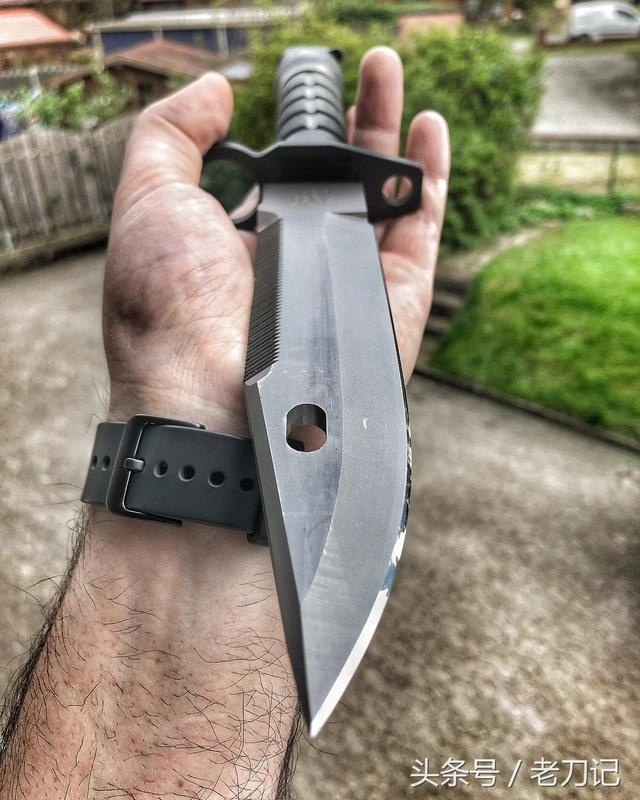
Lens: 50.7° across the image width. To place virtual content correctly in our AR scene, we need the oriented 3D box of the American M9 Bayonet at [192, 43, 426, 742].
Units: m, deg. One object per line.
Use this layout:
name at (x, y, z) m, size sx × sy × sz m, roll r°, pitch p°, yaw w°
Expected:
American M9 Bayonet at (0.002, -0.096, 0.745) m, size 0.204 × 0.077 × 0.760 m, roll -1°, pitch 41°, yaw -3°

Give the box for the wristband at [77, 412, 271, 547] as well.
wristband at (-0.136, 0.082, 0.757) m, size 0.207 × 0.105 × 0.189 m, roll 10°, pitch -3°, yaw -8°
